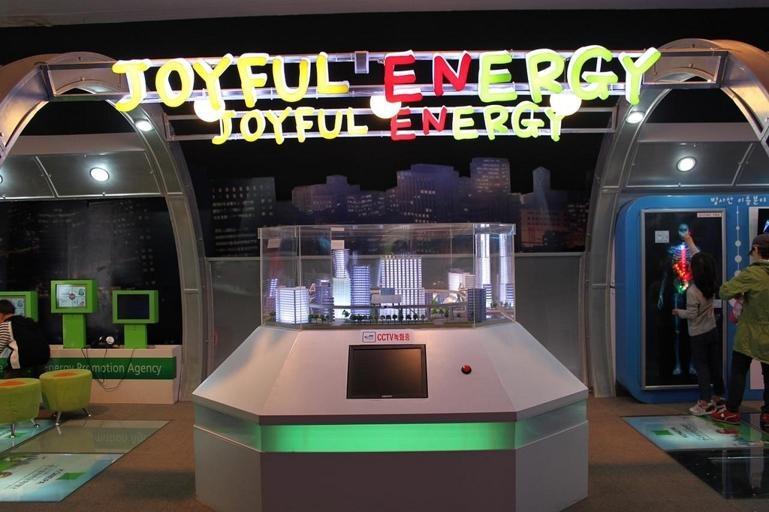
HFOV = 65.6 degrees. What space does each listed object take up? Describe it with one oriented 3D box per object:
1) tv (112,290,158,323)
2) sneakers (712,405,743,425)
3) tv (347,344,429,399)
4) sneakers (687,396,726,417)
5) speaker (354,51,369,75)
[{"bbox_3d":[-3.528,0.709,8.525,0.606,0.461,0.360,0,3,3],"label":"tv"},{"bbox_3d":[4.194,1.977,7.410,0.170,0.170,0.371,-4,4,-40],"label":"sneakers"},{"bbox_3d":[0.020,1.151,5.899,0.876,0.623,0.094,-3,-19,11],"label":"tv"},{"bbox_3d":[4.053,1.919,7.557,0.416,0.192,0.181,-2,3,6],"label":"sneakers"},{"bbox_3d":[-0.249,-2.075,6.376,0.152,0.213,0.405,-2,13,-2],"label":"speaker"}]
